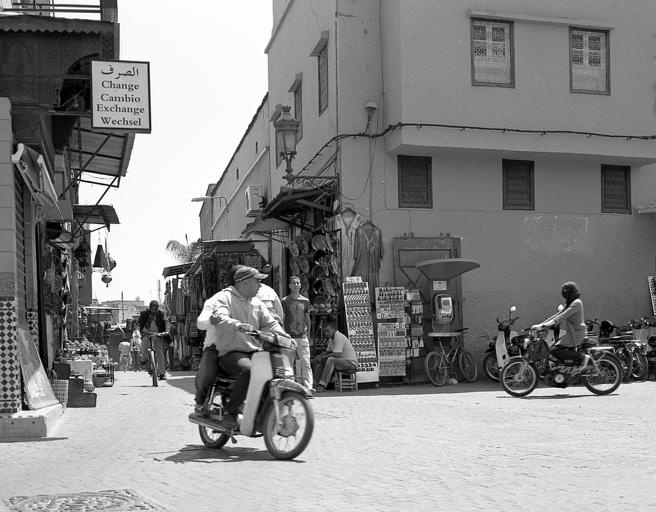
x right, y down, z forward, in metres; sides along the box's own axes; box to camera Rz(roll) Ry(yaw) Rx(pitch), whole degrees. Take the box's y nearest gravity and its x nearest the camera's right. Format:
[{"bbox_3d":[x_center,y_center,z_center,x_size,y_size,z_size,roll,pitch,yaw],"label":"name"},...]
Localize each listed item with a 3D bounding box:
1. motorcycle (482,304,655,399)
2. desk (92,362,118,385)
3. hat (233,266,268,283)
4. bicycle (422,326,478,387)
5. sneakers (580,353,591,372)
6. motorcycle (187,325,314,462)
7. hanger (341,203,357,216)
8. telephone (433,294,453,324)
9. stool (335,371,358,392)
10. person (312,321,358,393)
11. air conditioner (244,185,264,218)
[{"bbox_3d":[4.434,1.821,17.785,2.399,1.724,1.521,-2,-9,9],"label":"motorcycle"},{"bbox_3d":[-5.245,2.733,22.192,0.408,0.586,1.916,0,-3,-8],"label":"desk"},{"bbox_3d":[-0.968,0.217,11.598,0.310,0.126,0.202,-3,3,-7],"label":"hat"},{"bbox_3d":[2.652,2.208,20.471,1.524,1.017,0.690,-7,1,-41],"label":"bicycle"},{"bbox_3d":[4.668,1.901,17.044,0.096,0.321,0.129,3,14,7],"label":"sneakers"},{"bbox_3d":[-0.789,1.645,11.235,0.826,1.536,2.226,10,-16,-37],"label":"motorcycle"},{"bbox_3d":[0.454,-1.018,20.734,0.311,0.307,0.240,0,-3,2],"label":"hanger"},{"bbox_3d":[2.549,1.149,20.571,0.439,0.666,0.321,0,-3,-12],"label":"telephone"},{"bbox_3d":[0.391,2.549,19.357,0.380,0.414,0.401,0,-2,-6],"label":"stool"},{"bbox_3d":[0.166,2.056,19.416,0.888,1.362,0.626,0,-3,1],"label":"person"},{"bbox_3d":[-2.274,-1.773,29.961,0.694,1.319,1.350,0,-15,-2],"label":"air conditioner"}]
